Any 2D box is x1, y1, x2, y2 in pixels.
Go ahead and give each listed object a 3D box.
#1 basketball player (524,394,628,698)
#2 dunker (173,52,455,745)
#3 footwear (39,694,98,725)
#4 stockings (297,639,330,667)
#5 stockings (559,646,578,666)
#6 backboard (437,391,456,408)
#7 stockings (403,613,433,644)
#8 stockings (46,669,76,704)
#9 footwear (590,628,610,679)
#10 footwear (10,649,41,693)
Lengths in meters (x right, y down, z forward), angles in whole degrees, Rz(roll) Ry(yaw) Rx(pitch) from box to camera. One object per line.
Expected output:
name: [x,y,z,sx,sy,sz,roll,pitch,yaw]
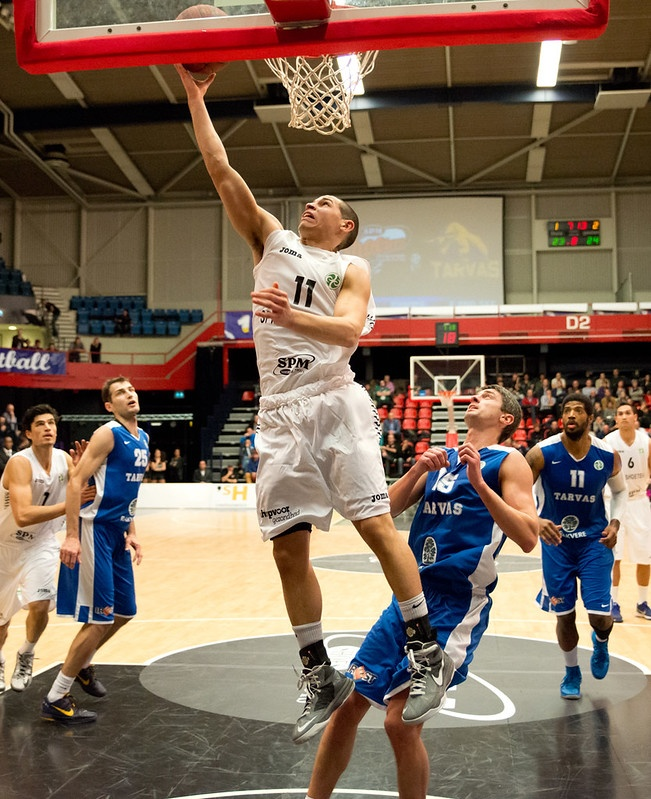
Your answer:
basketball player: [1.540,0.900,4.470,0.807,1.733,0.631,2,-8,-4]
dunker: [-0.051,-0.051,2.483,0.768,2.313,0.795,-7,-13,17]
footwear: [-1.305,1.580,3.748,0.346,0.131,0.113,4,-8,-6]
stockings: [-0.035,0.820,2.404,0.090,0.076,0.096,-28,-20,-13]
stockings: [1.400,1.481,4.230,0.073,0.127,0.118,0,0,14]
backboard: [2.906,-0.006,17.806,0.519,0.430,0.409,0,41,9]
stockings: [0.286,0.721,2.319,0.118,0.099,0.072,-5,-6,23]
stockings: [-1.346,1.460,3.765,0.149,0.151,0.105,0,0,27]
footwear: [1.585,1.493,4.297,0.125,0.309,0.137,3,12,15]
footwear: [-1.683,1.533,4.153,0.112,0.108,0.280,7,32,-21]
